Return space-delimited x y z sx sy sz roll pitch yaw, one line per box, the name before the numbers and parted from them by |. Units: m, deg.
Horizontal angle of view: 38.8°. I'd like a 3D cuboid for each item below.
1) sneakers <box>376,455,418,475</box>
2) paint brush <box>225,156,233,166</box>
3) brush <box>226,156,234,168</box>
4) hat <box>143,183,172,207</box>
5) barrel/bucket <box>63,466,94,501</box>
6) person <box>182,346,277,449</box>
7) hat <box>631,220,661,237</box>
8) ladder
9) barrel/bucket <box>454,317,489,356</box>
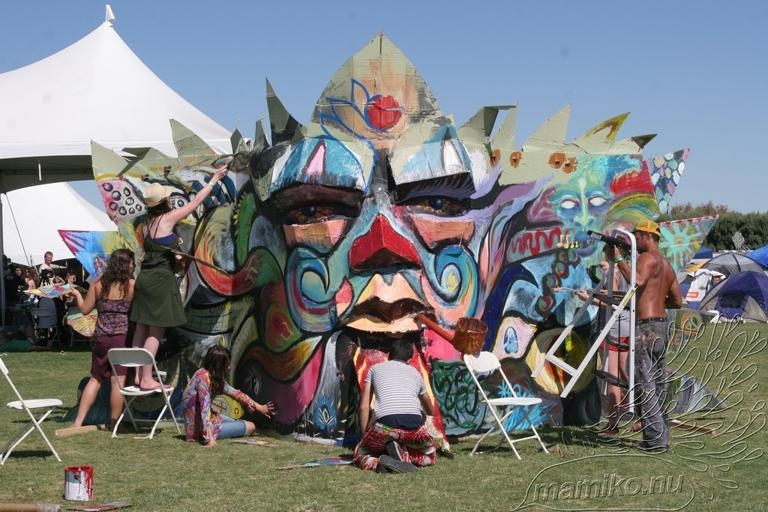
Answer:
sneakers | 0.193 3.010 15.742 0.604 0.256 0.220 5 22 -3
paint brush | -2.556 -1.571 18.020 0.042 0.155 0.152 23 -17 -38
brush | -2.545 -1.561 17.978 0.121 0.190 0.050 7 -26 11
hat | -3.593 -0.964 17.194 0.367 0.347 0.234 0 9 -6
barrel/bucket | -4.137 3.088 14.792 0.408 0.474 0.419 1 -4 0
person | -2.429 2.195 17.118 1.381 1.466 0.886 0 3 -12
hat | 4.128 -0.436 17.027 0.378 0.203 0.241 25 11 7
ladder | 3.299 1.043 16.773 1.576 2.957 2.039 -4 10 -27
barrel/bucket | 1.336 1.223 16.817 0.416 0.456 0.597 13 16 18
